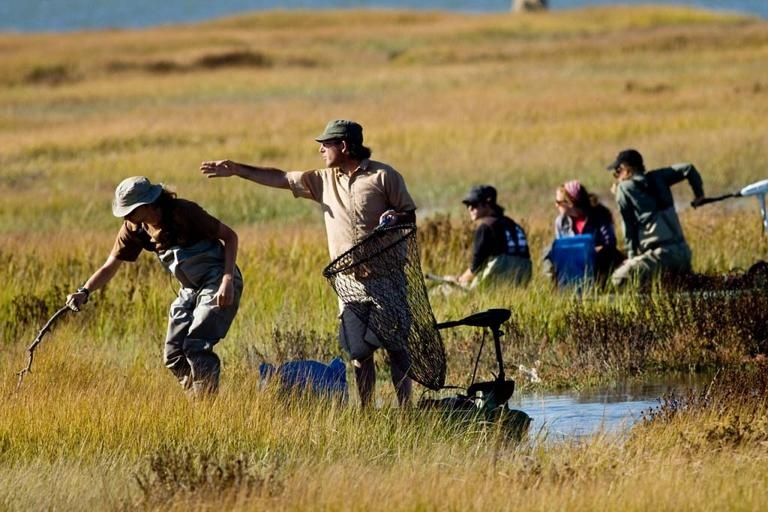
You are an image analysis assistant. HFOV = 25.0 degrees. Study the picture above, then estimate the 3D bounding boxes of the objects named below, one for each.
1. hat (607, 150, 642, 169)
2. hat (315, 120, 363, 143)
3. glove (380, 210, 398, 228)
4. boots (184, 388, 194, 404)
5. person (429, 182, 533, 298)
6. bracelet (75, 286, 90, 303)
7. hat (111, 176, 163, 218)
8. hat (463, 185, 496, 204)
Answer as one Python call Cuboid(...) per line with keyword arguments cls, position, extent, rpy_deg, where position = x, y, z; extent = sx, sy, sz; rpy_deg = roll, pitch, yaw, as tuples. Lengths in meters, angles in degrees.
Cuboid(cls="hat", position=(3.362, -1.392, 23.958), extent=(0.363, 0.230, 0.280), rpy_deg=(3, 3, 6))
Cuboid(cls="hat", position=(-0.513, -1.569, 21.053), extent=(0.389, 0.218, 0.316), rpy_deg=(2, 1, 17))
Cuboid(cls="glove", position=(0.043, -0.448, 20.686), extent=(0.203, 0.207, 0.601), rpy_deg=(-4, 20, 0))
Cuboid(cls="boots", position=(-2.390, 1.726, 21.092), extent=(0.091, 0.163, 0.074), rpy_deg=(-15, -23, 3))
Cuboid(cls="person", position=(1.403, -0.218, 24.452), extent=(1.137, 1.634, 1.036), rpy_deg=(2, 5, 39))
Cuboid(cls="bracelet", position=(-3.706, 0.468, 21.220), extent=(0.127, 0.181, 0.196), rpy_deg=(-39, 7, -27))
Cuboid(cls="hat", position=(-2.981, -0.785, 20.729), extent=(0.450, 0.250, 0.519), rpy_deg=(-3, 37, 50))
Cuboid(cls="hat", position=(1.364, -0.887, 24.249), extent=(0.361, 0.204, 0.270), rpy_deg=(3, -2, -13))
